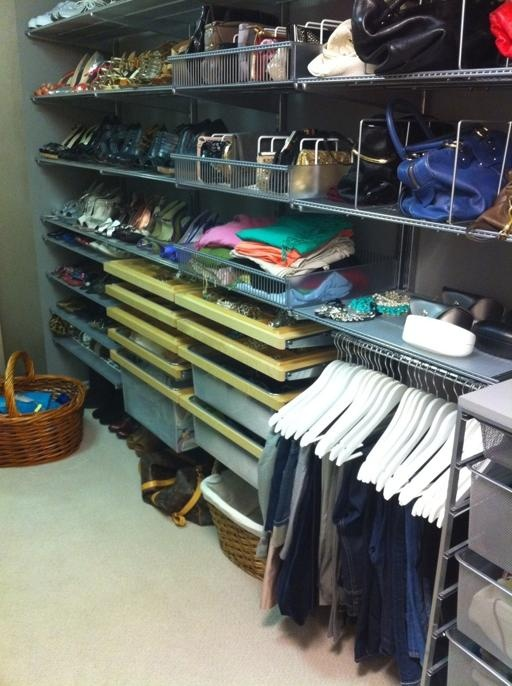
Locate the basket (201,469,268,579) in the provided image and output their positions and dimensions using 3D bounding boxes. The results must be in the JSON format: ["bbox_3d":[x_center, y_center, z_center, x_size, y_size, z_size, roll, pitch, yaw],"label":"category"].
[{"bbox_3d":[-0.065,0.699,2.183,0.279,0.181,0.358,-9,22,-29],"label":"basket"}]

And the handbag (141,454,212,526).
[{"bbox_3d":[-0.391,0.675,2.599,0.255,0.128,0.313,-2,25,-47],"label":"handbag"}]

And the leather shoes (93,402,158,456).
[{"bbox_3d":[-0.810,0.518,3.336,0.244,0.090,0.319,18,21,35],"label":"leather shoes"}]
